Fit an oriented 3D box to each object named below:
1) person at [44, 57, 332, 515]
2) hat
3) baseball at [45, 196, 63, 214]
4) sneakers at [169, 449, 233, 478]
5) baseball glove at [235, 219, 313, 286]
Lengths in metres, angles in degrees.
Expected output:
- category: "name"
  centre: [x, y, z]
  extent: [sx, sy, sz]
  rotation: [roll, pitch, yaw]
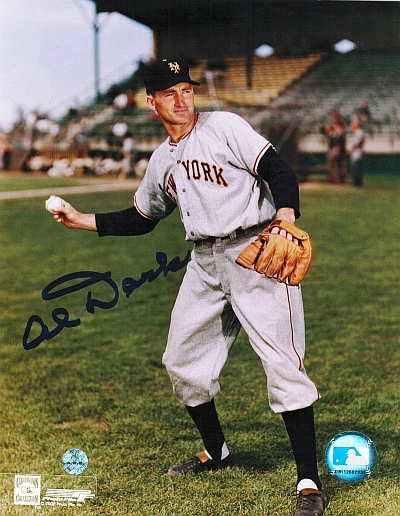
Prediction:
- category: "person"
  centre: [0.097, 0.175, 2.600]
  extent: [0.429, 1.640, 1.089]
  rotation: [-13, 17, -35]
- category: "hat"
  centre: [-0.122, -0.741, 2.556]
  extent: [0.161, 0.090, 0.196]
  rotation: [-20, 18, -25]
- category: "baseball"
  centre: [-0.641, -0.238, 2.769]
  extent: [0.081, 0.074, 0.035]
  rotation: [-6, -7, 4]
- category: "sneakers"
  centre: [-0.012, 0.921, 2.840]
  extent: [0.350, 0.089, 0.098]
  rotation: [-4, 9, -3]
- category: "baseball glove"
  centre: [0.293, -0.024, 2.329]
  extent: [0.256, 0.251, 0.114]
  rotation: [34, 9, 2]
